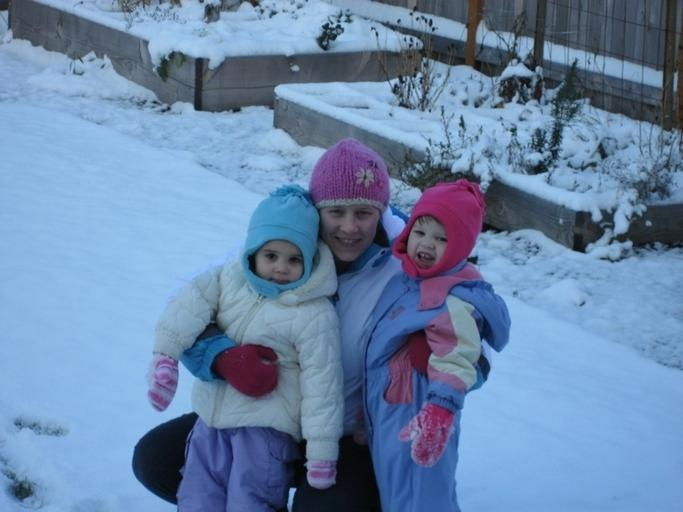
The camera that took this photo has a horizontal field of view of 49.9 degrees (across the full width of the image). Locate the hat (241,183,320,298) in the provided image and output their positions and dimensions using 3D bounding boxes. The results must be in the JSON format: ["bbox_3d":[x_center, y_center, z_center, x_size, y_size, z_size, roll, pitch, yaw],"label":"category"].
[{"bbox_3d":[-0.302,-0.065,3.629,0.318,0.585,0.335,10,-2,-5],"label":"hat"}]

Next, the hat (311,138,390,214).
[{"bbox_3d":[0.040,-0.416,3.787,0.357,0.402,0.398,3,-1,-1],"label":"hat"}]

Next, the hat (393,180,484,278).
[{"bbox_3d":[0.535,-0.118,3.603,0.378,0.515,0.322,7,7,-35],"label":"hat"}]

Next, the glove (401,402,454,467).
[{"bbox_3d":[0.382,0.774,3.244,0.203,0.258,0.091,37,9,-2],"label":"glove"}]

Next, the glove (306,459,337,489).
[{"bbox_3d":[-0.094,1.001,3.364,0.115,0.130,0.129,1,-9,-3],"label":"glove"}]

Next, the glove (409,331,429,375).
[{"bbox_3d":[0.360,0.455,3.402,0.041,0.169,0.134,-4,-4,-25],"label":"glove"}]

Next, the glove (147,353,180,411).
[{"bbox_3d":[-0.824,0.588,3.425,0.084,0.261,0.147,8,-20,-35],"label":"glove"}]
